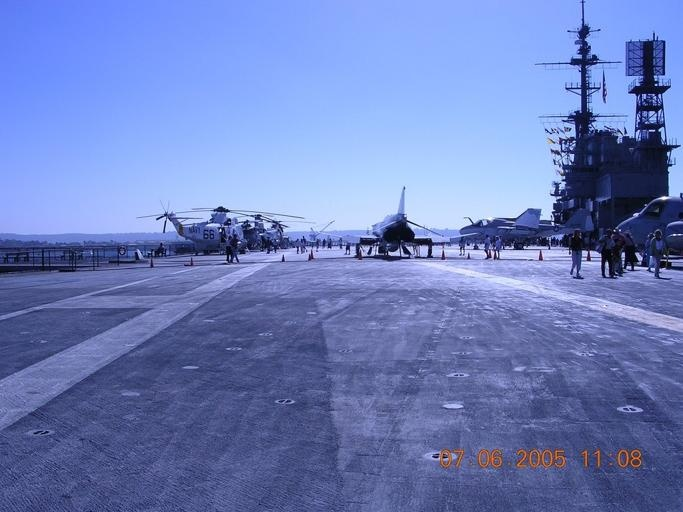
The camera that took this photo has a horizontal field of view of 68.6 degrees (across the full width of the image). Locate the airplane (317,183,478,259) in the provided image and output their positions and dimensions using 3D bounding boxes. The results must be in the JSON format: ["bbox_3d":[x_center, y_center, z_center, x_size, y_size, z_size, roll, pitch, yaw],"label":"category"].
[{"bbox_3d":[4.756,-2.643,46.975,18.279,5.803,15.462,-4,1,-8],"label":"airplane"}]

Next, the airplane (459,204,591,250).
[{"bbox_3d":[28.074,-4.489,81.279,16.284,4.568,16.810,2,2,14],"label":"airplane"}]

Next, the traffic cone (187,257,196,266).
[{"bbox_3d":[-12.195,0.464,40.807,0.772,0.719,0.785,-3,-7,37],"label":"traffic cone"}]

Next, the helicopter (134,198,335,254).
[{"bbox_3d":[-15.329,-3.114,60.363,14.607,3.482,11.587,-1,6,-7],"label":"helicopter"}]
